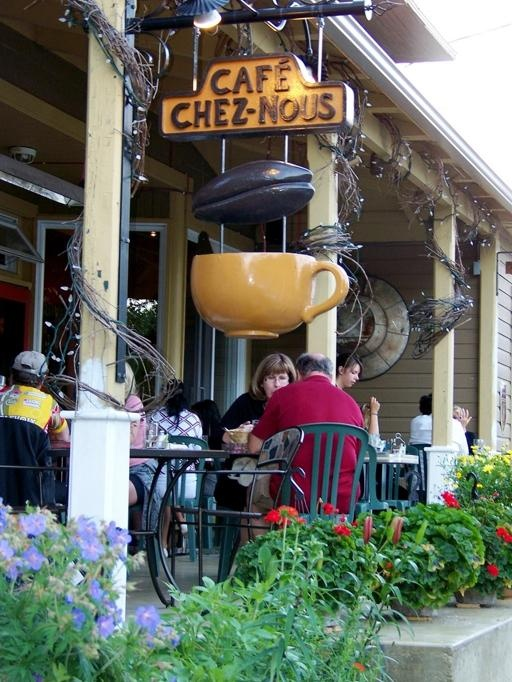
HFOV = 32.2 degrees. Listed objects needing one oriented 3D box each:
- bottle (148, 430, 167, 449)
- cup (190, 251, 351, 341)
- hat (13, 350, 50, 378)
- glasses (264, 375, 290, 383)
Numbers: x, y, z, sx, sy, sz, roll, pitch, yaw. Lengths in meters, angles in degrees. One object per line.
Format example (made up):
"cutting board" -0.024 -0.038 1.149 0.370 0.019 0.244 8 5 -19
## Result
"bottle" -0.384 0.392 3.480 0.047 0.042 0.059 -2 -14 10
"cup" 0.036 -0.112 2.307 0.431 0.201 0.305 0 -1 23
"hat" -1.012 0.100 4.003 0.175 0.136 0.252 2 3 -3
"glasses" 0.107 0.187 4.450 0.057 0.042 0.059 3 0 41
